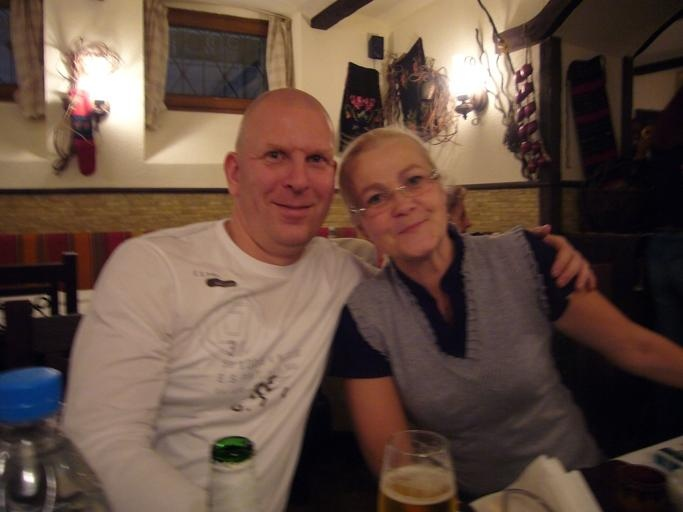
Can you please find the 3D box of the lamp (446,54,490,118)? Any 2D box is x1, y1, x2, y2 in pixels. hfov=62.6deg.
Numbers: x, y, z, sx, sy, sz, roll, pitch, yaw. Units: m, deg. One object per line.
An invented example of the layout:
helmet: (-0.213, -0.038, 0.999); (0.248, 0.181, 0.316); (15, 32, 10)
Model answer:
lamp: (1.071, -1.405, 4.790); (0.263, 0.529, 0.273); (0, -14, 3)
